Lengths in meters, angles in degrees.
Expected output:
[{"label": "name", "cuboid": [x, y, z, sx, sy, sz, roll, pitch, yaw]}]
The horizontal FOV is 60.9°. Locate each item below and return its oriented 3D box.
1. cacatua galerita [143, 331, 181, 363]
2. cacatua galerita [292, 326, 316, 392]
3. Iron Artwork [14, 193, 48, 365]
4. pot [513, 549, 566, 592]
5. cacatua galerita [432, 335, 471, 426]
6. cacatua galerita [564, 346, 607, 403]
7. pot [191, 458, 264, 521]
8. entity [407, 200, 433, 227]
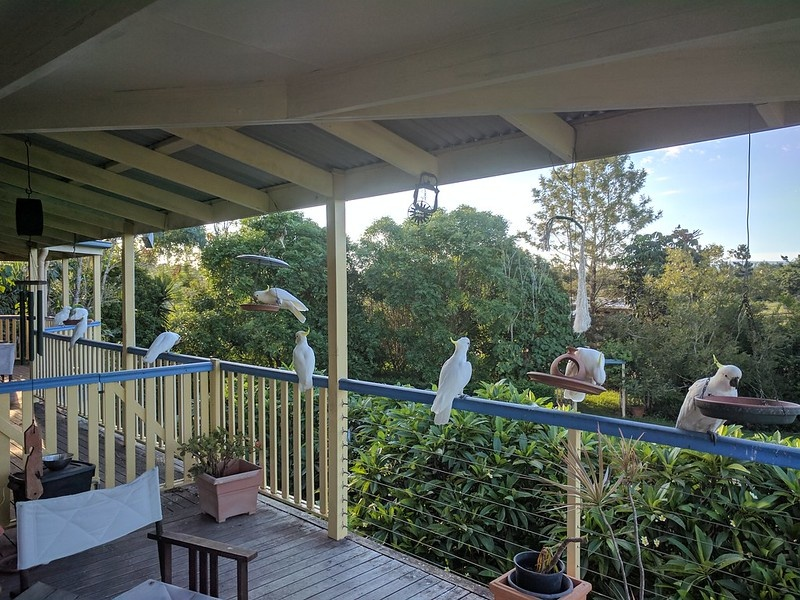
[{"label": "cacatua galerita", "cuboid": [-2.086, 0.415, 5.891, 0.172, 0.203, 0.371, 15, 29, 25]}, {"label": "cacatua galerita", "cuboid": [-0.723, 0.465, 5.110, 0.148, 0.469, 0.400, 2, -1, -8]}, {"label": "Iron Artwork", "cuboid": [-3.350, -0.181, 6.235, 0.328, 1.486, 0.326, -2, 9, -33]}, {"label": "pot", "cuboid": [0.737, 1.474, 3.681, 0.190, 0.148, 0.176, -1, 1, 0]}, {"label": "cacatua galerita", "cuboid": [0.328, 0.531, 4.410, 0.244, 0.586, 0.414, 2, -1, 5]}, {"label": "cacatua galerita", "cuboid": [1.024, 0.422, 3.789, 0.209, 0.301, 0.257, 1, -1, 14]}, {"label": "pot", "cuboid": [-1.373, 1.493, 5.439, 0.402, 0.417, 0.542, -2, -2, 44]}, {"label": "entity", "cuboid": [0.143, -0.597, 4.731, 0.170, 0.123, 0.320, 2, -1, 1]}]
